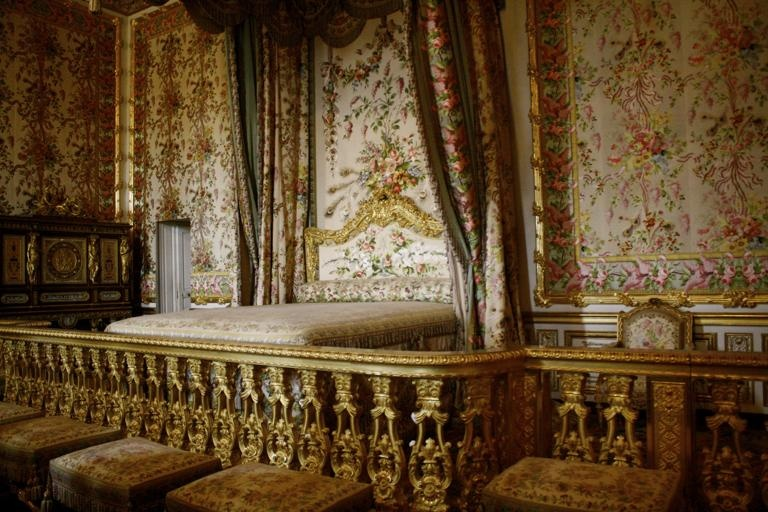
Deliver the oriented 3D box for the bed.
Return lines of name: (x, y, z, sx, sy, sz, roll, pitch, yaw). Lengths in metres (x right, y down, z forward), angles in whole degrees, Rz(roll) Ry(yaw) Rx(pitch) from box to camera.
bed: (-0.376, 0.006, 5.033, 2.555, 1.442, 2.442, -1, -3, 27)
